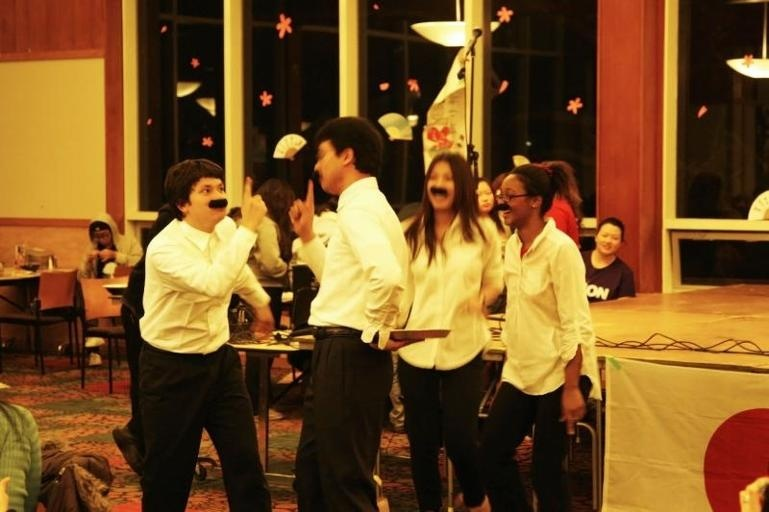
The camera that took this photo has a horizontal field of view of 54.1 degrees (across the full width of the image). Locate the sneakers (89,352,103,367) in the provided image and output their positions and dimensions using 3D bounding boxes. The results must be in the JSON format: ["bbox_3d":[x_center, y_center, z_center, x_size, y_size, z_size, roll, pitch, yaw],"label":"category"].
[{"bbox_3d":[-3.384,1.200,8.831,0.162,0.173,0.169,3,5,19],"label":"sneakers"}]
